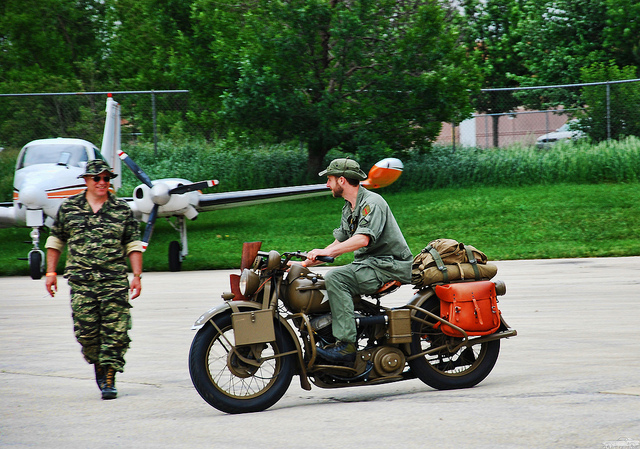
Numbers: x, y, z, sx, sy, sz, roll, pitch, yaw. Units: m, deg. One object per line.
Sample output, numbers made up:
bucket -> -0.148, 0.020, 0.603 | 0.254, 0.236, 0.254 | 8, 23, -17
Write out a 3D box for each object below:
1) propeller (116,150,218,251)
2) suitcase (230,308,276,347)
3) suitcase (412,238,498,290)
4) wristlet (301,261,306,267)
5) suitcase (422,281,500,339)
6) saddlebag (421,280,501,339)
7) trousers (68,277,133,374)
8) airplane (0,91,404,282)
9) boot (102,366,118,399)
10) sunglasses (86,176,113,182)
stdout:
propeller -> -3.880, -0.660, 23.028 | 2.096, 2.108, 1.248 | 0, 5, 10
suitcase -> -0.950, 1.478, 13.463 | 0.626, 0.529, 0.152 | -1, 5, -3
suitcase -> 2.022, 0.604, 14.258 | 1.312, 0.358, 0.883 | -2, 4, -19
wristlet -> -0.239, 0.579, 13.778 | 0.064, 0.074, 0.097 | -1, 4, -1
suitcase -> 2.551, 1.237, 14.097 | 0.619, 0.792, 1.174 | -10, -3, -42
saddlebag -> 2.236, 1.264, 14.030 | 0.931, 0.812, 0.258 | -2, 5, -14
trousers -> -3.272, 1.500, 14.061 | 0.821, 1.358, 0.299 | -2, 5, -11
airplane -> -4.760, -0.963, 25.157 | 11.778, 2.506, 6.676 | -3, 1, 6
boot -> -3.140, 2.353, 13.973 | 0.211, 0.468, 0.169 | -2, 5, -11
sunglasses -> -3.306, -0.688, 14.222 | 0.320, 0.087, 0.104 | -3, 5, -38
